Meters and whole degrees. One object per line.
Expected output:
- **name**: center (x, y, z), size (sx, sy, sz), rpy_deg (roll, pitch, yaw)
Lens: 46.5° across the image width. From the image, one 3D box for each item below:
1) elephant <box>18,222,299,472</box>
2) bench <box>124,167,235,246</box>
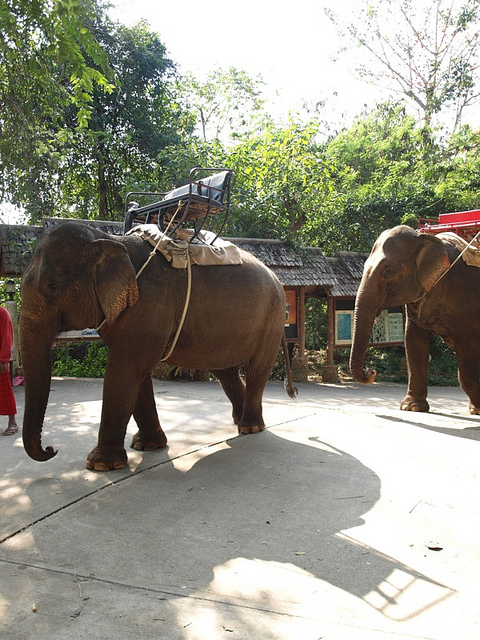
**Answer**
- **elephant**: center (-0.506, 0.173, 4.095), size (2.350, 1.499, 0.668), rpy_deg (-2, 2, -43)
- **bench**: center (-0.384, -0.901, 4.275), size (0.382, 0.425, 0.670), rpy_deg (-3, 11, -27)
